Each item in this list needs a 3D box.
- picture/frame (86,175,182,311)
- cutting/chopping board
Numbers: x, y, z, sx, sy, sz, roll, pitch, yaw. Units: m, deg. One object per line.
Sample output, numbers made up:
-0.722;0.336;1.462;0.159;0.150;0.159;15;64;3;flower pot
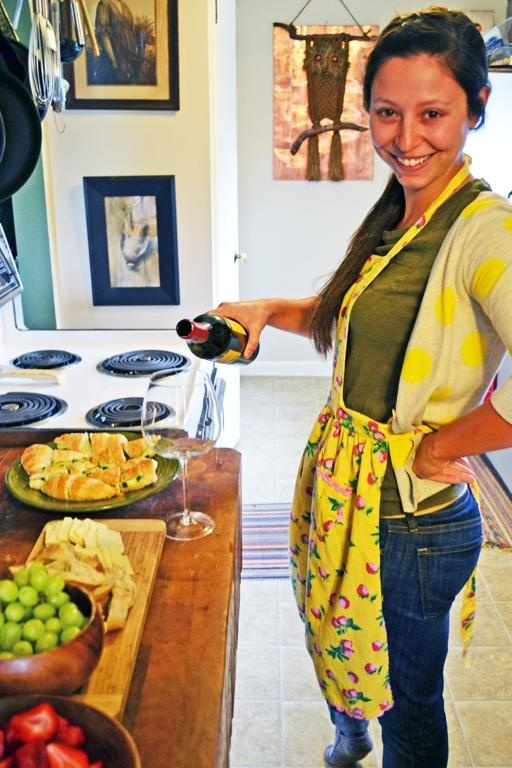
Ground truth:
-0.401;-0.487;1.831;0.394;0.542;0.036;-1;18;-2;picture/frame
-0.154;0.262;0.575;0.091;0.013;0.280;9;22;-7;cutting/chopping board
